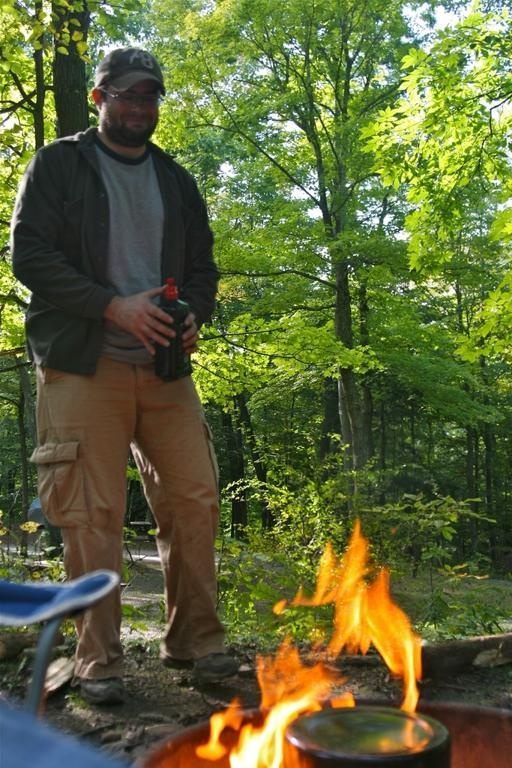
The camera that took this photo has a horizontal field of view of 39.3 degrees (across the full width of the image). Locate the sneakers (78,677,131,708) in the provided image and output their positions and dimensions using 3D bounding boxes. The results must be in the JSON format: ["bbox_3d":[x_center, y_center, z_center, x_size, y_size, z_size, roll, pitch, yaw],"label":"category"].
[{"bbox_3d":[-0.528,1.053,2.484,0.157,0.080,0.133,-1,-5,-16],"label":"sneakers"}]

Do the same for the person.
[{"bbox_3d":[-0.516,-0.081,2.800,0.776,2.385,0.565,-2,-5,-3],"label":"person"}]

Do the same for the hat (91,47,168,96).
[{"bbox_3d":[-0.469,-1.151,2.686,0.195,0.120,0.253,-8,19,-37],"label":"hat"}]

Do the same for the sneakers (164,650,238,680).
[{"bbox_3d":[-0.242,1.037,2.690,0.328,0.122,0.110,-3,-14,8],"label":"sneakers"}]

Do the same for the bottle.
[{"bbox_3d":[-0.311,-0.196,2.671,0.157,0.522,0.207,-2,32,-7],"label":"bottle"}]
